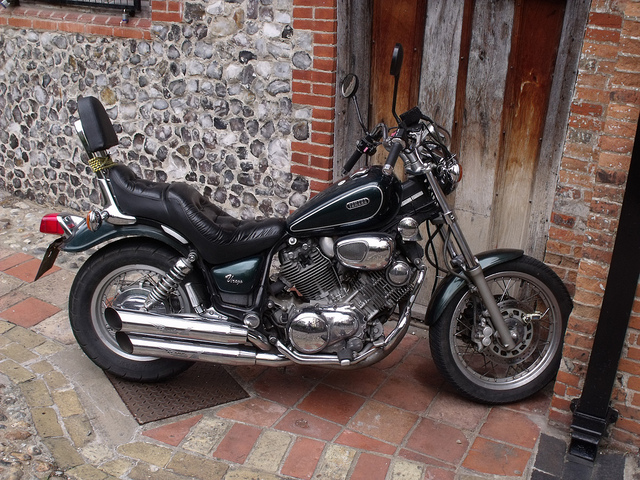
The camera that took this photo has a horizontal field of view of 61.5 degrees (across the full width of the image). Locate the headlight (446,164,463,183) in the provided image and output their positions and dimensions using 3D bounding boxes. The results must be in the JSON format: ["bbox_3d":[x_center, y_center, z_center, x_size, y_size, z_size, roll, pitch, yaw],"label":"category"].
[{"bbox_3d":[0.845,-0.417,3.366,0.106,0.108,0.050,-10,25,-21],"label":"headlight"}]
